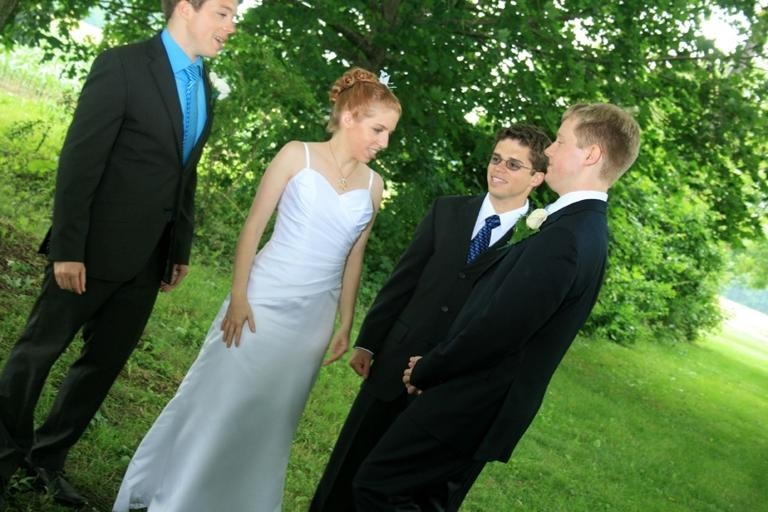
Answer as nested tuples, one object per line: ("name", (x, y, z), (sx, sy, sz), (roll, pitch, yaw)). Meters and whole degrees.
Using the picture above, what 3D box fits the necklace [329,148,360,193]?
("necklace", (-0.343, -0.729, 6.189), (0.396, 0.436, 0.037), (-1, -3, -26))
